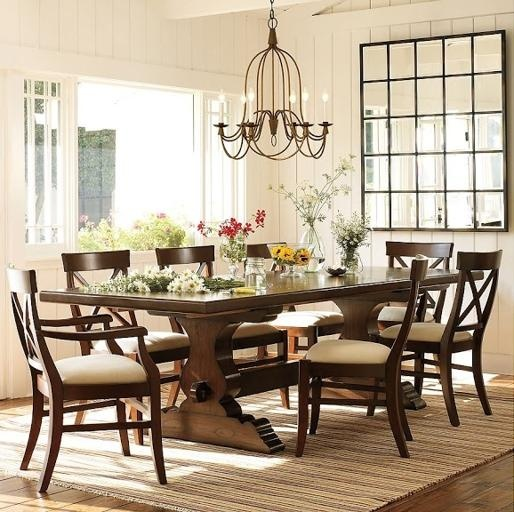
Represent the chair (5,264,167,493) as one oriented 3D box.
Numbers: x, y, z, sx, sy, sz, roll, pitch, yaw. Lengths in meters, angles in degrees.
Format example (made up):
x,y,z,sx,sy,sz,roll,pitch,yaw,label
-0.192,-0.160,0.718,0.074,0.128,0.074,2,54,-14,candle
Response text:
x,y,z,sx,sy,sz,roll,pitch,yaw,label
-0.726,0.477,2.194,0.685,0.857,0.465,-4,-5,43,chair
